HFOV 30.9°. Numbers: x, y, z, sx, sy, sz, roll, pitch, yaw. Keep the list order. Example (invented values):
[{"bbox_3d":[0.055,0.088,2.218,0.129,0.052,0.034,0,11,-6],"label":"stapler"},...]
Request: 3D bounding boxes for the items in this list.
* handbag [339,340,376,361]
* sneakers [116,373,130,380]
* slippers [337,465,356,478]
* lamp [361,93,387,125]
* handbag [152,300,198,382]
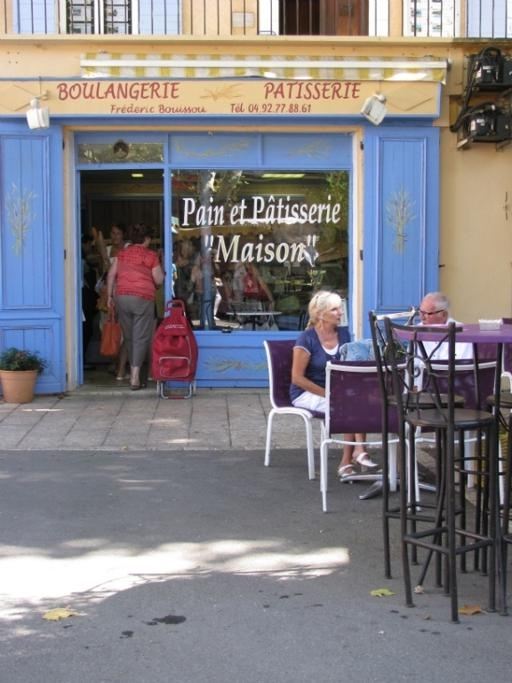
[{"bbox_3d":[0.622,0.036,5.755,0.168,0.059,0.158,0,13,1],"label":"handbag"},{"bbox_3d":[-1.479,0.386,10.284,0.078,0.090,0.243,0,-2,-6],"label":"sneakers"},{"bbox_3d":[0.563,0.829,5.883,0.052,0.058,0.151,2,-13,-26],"label":"slippers"},{"bbox_3d":[1.105,-2.212,8.721,0.235,0.294,0.471,1,6,8],"label":"lamp"},{"bbox_3d":[-0.791,0.032,8.981,0.420,0.712,0.300,0,7,-2],"label":"handbag"}]
